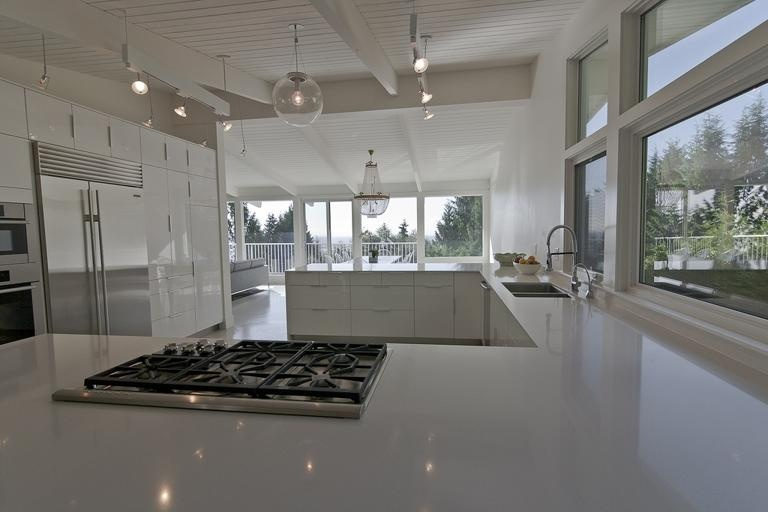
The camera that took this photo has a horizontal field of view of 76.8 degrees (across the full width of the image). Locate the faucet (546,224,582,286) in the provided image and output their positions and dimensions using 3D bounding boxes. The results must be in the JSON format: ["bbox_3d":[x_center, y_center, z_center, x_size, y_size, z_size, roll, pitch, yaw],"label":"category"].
[{"bbox_3d":[1.452,0.028,3.919,0.269,0.568,0.098,-6,-18,35],"label":"faucet"}]

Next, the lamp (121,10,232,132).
[{"bbox_3d":[-1.994,-1.713,4.730,0.786,0.665,1.933,-3,2,-11],"label":"lamp"}]

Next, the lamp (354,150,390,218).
[{"bbox_3d":[-0.197,-1.164,7.707,0.574,1.012,0.609,-8,8,-26],"label":"lamp"}]

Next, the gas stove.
[{"bbox_3d":[-0.615,0.515,2.101,1.241,0.159,0.495,-3,2,6],"label":"gas stove"}]
